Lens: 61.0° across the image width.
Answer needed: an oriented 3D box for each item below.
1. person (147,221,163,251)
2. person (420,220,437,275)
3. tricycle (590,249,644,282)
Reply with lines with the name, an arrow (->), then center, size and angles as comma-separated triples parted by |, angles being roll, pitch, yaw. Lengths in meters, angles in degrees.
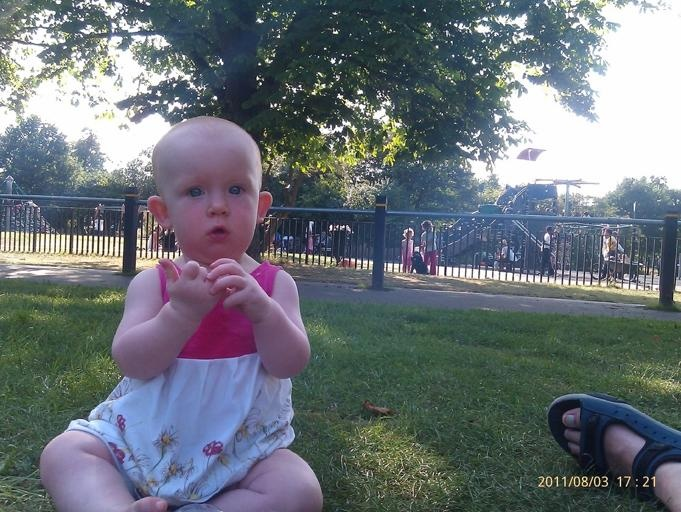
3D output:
person -> -4.007, -0.432, 12.480 | 0.173, 0.824, 0.381 | 4, 25, -18
person -> 2.118, -0.248, 13.935 | 0.414, 1.235, 2.124 | 3, 5, 9
tricycle -> 6.272, 0.269, 13.207 | 0.818, 0.730, 2.296 | 5, 6, 21
